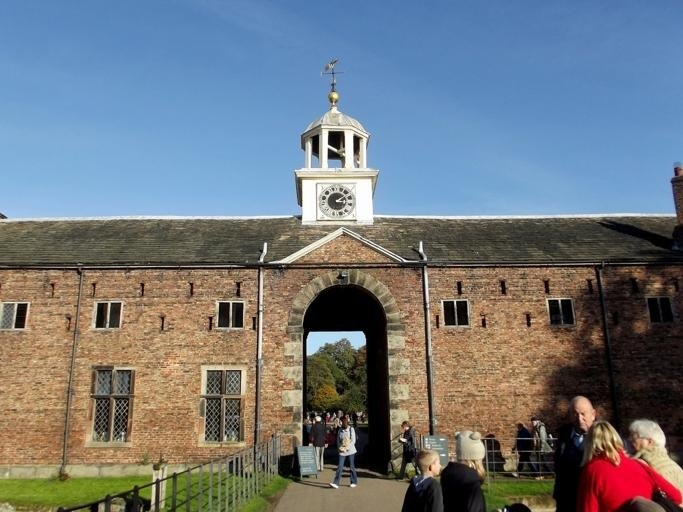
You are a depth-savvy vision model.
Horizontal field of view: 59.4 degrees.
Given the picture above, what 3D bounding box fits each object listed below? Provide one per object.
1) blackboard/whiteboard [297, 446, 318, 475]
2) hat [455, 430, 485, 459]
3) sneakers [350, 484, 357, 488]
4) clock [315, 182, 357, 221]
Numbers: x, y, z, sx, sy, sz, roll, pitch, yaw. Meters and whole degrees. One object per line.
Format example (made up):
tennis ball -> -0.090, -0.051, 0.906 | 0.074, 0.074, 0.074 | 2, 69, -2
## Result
blackboard/whiteboard -> -1.206, 7.226, 20.976 | 0.643, 0.972, 0.432 | 5, -17, -20
hat -> 2.243, 3.404, 10.734 | 0.599, 0.480, 0.543 | 0, -20, -2
sneakers -> 0.405, 7.530, 19.535 | 0.217, 0.074, 0.115 | 15, -22, -33
clock -> -0.209, -2.598, 28.999 | 2.197, 1.757, 0.162 | 3, 6, 32
